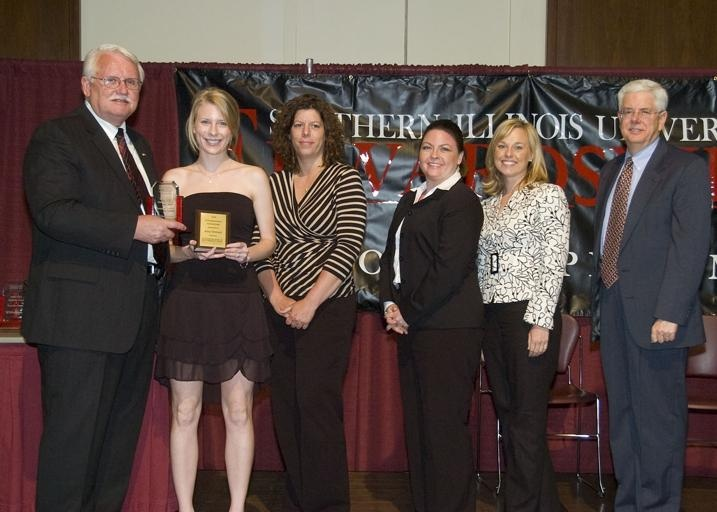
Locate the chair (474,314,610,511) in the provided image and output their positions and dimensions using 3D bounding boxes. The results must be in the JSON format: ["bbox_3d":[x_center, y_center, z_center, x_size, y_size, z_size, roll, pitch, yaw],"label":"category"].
[{"bbox_3d":[1.335,0.988,5.234,0.626,1.251,0.757,2,-8,3],"label":"chair"}]

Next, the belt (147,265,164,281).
[{"bbox_3d":[-1.142,0.086,4.169,0.073,0.091,0.061,-20,13,-32],"label":"belt"}]

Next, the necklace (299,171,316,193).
[{"bbox_3d":[-0.316,-0.455,4.548,0.030,0.111,0.109,24,18,-33],"label":"necklace"}]

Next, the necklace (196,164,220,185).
[{"bbox_3d":[-0.868,-0.466,4.281,0.080,0.091,0.034,3,-24,-8],"label":"necklace"}]
